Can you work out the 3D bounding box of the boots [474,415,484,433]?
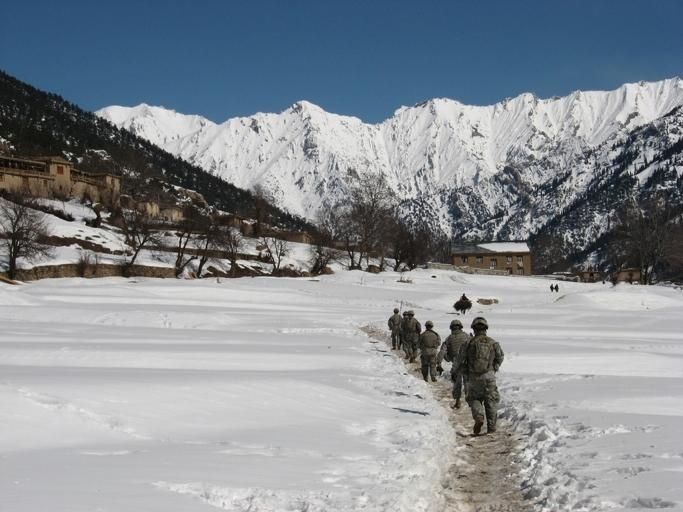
[{"bbox_3d":[5.648,6.964,35.944,0.281,0.829,0.326,5,11,-5],"label":"boots"}]
